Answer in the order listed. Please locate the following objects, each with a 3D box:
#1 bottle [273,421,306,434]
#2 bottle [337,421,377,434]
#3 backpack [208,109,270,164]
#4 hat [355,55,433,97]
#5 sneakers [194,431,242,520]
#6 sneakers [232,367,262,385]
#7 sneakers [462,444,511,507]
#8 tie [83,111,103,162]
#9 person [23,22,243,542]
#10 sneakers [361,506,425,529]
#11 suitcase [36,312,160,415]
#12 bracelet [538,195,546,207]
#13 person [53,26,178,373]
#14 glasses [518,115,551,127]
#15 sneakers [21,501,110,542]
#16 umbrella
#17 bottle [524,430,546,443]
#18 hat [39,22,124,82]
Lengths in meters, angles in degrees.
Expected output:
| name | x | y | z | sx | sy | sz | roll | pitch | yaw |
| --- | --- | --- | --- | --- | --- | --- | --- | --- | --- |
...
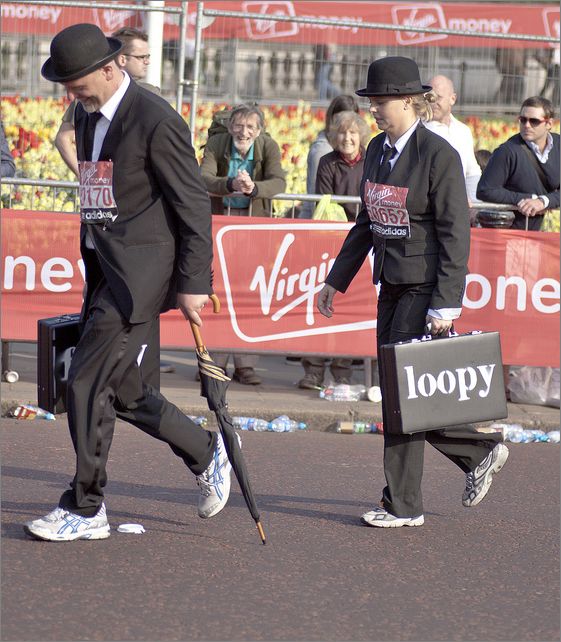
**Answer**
| name | x | y | z | sx | sy | sz | roll | pitch | yaw |
| --- | --- | --- | --- | --- | --- | --- | --- | --- | --- |
| bottle | 0.042 | 0.642 | 7.499 | 0.215 | 0.074 | 0.067 | 2 | 31 | -20 |
| bottle | 0.484 | 0.662 | 7.541 | 0.299 | 0.087 | 0.087 | 2 | 8 | -6 |
| backpack | -0.326 | -1.379 | 8.548 | 0.351 | 0.320 | 0.245 | 0 | 4 | -6 |
| hat | 0.518 | -1.092 | 5.365 | 0.339 | 0.183 | 0.186 | 3 | 8 | 2 |
| sneakers | -0.305 | 0.720 | 5.540 | 0.206 | 0.450 | 0.154 | 0 | 5 | -32 |
| sneakers | -0.244 | 0.377 | 8.591 | 0.093 | 0.109 | 0.232 | 2 | -4 | -35 |
| sneakers | 0.990 | 0.738 | 5.799 | 0.151 | 0.309 | 0.104 | 33 | 0 | -29 |
| tie | -0.799 | -0.779 | 5.016 | 0.042 | 0.168 | 0.129 | 8 | 4 | 26 |
| person | -0.634 | -0.145 | 5.129 | 0.839 | 2.177 | 0.492 | 2 | 8 | -8 |
| sneakers | 0.527 | 0.908 | 5.642 | 0.280 | 0.126 | 0.103 | 2 | -1 | -10 |
| suitcase | -0.770 | 0.180 | 5.180 | 0.138 | 0.387 | 0.433 | 5 | 9 | 33 |
| bracelet | 1.799 | -0.827 | 8.214 | 0.026 | 0.067 | 0.058 | -6 | 3 | -10 |
| person | -1.074 | -0.636 | 8.004 | 0.763 | 2.415 | 0.872 | -14 | 17 | -37 |
| glasses | 1.749 | -1.382 | 8.315 | 0.195 | 0.078 | 0.117 | 6 | 9 | 19 |
| sneakers | -0.918 | 0.856 | 5.187 | 0.381 | 0.181 | 0.134 | 4 | -1 | -20 |
| umbrella | -0.189 | 0.527 | 5.353 | 0.278 | 0.216 | 1.450 | 22 | 22 | -18 |
| bottle | 1.577 | 0.707 | 7.486 | 0.182 | 0.068 | 0.077 | -1 | 9 | -21 |
| hat | -0.788 | -1.090 | 4.793 | 0.288 | 0.105 | 0.256 | -37 | 37 | -19 |
